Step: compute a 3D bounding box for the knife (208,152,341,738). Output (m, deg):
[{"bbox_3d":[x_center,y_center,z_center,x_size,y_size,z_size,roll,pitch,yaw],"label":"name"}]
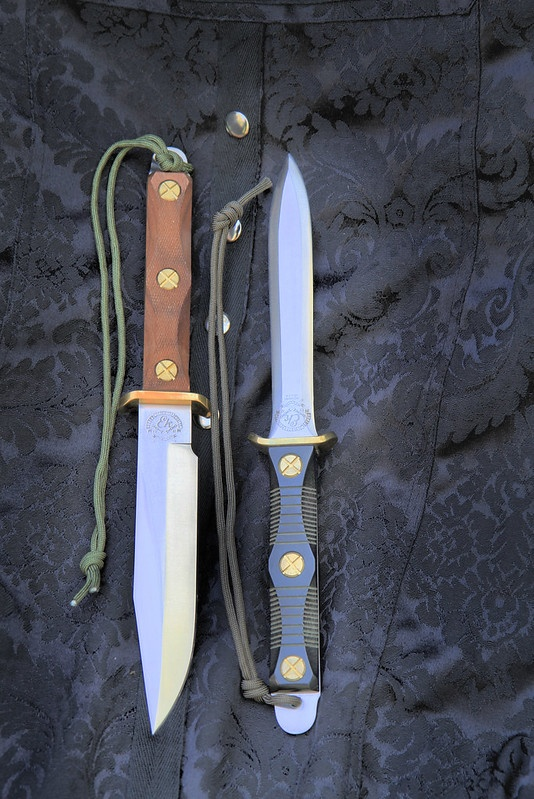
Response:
[{"bbox_3d":[0.001,0.037,0.976,0.127,0.606,0.061,-1,-15,-2],"label":"knife"}]
